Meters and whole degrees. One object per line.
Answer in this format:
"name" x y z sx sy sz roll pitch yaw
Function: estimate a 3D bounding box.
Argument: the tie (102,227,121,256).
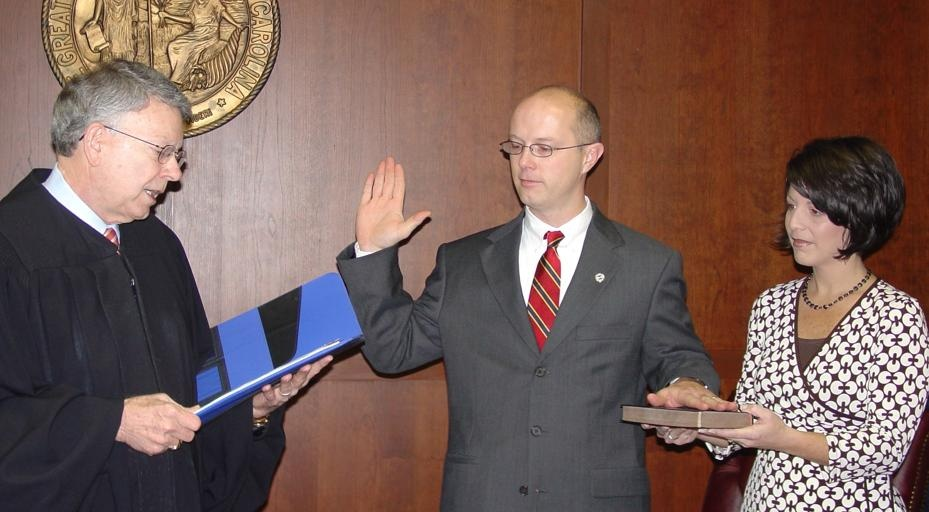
"tie" -1.533 -0.060 3.338 0.033 0.110 0.086 -7 18 20

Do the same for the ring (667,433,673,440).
"ring" 0.896 0.786 3.348 0.019 0.027 0.007 1 5 26
